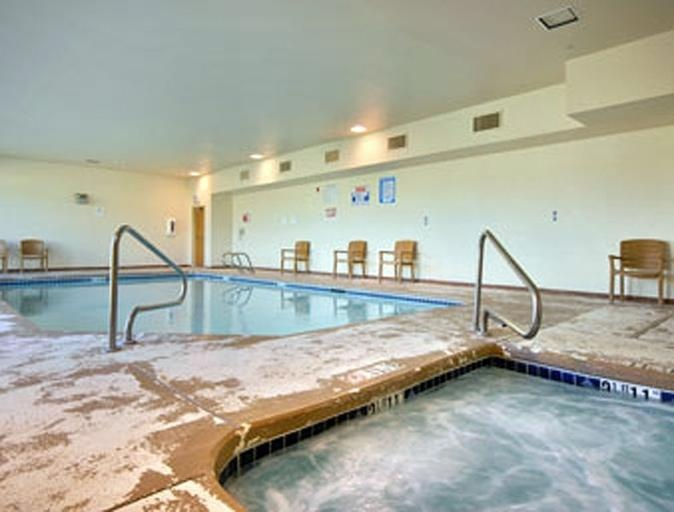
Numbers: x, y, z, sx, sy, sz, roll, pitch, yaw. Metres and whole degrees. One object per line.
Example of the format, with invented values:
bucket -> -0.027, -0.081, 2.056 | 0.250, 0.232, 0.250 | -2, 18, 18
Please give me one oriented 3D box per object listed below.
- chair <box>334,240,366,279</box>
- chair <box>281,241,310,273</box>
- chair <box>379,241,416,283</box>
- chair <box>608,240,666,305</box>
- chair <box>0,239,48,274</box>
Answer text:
chair -> 0.254, 0.074, 8.995 | 0.619, 0.845, 1.089 | -4, 10, -26
chair -> -0.981, 0.023, 10.227 | 0.572, 0.685, 0.565 | -1, 0, 32
chair -> 1.133, 0.074, 7.974 | 0.491, 0.691, 0.577 | -2, 1, -44
chair -> 3.816, 0.184, 5.378 | 0.605, 0.786, 0.968 | 8, 11, 37
chair -> -7.304, 0.005, 9.893 | 0.853, 0.636, 0.313 | 0, 1, -42
